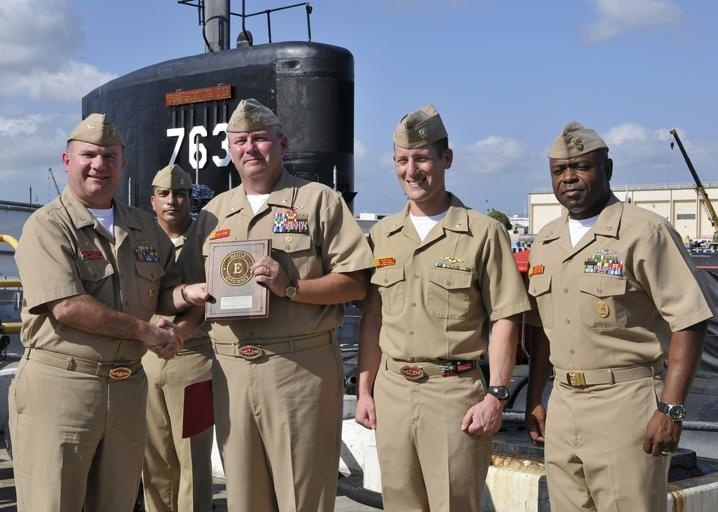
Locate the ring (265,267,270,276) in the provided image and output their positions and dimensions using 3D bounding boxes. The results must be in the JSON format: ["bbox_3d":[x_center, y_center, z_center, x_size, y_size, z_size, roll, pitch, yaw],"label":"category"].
[{"bbox_3d":[-0.546,0.096,4.273,0.032,0.048,0.014,-1,-5,-2],"label":"ring"}]

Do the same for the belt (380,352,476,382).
[{"bbox_3d":[0.438,0.686,4.362,0.567,0.129,0.167,-2,0,5],"label":"belt"}]

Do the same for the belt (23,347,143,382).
[{"bbox_3d":[-1.706,0.669,4.431,0.676,0.153,0.293,-2,0,-23],"label":"belt"}]

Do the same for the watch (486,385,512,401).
[{"bbox_3d":[0.839,0.828,4.269,0.112,0.078,0.116,8,-22,-7],"label":"watch"}]

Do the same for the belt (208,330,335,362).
[{"bbox_3d":[-0.523,0.559,4.463,0.784,0.145,0.233,-2,0,-6],"label":"belt"}]

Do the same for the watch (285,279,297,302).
[{"bbox_3d":[-0.410,0.207,4.324,0.066,0.117,0.108,18,-2,-7],"label":"watch"}]
